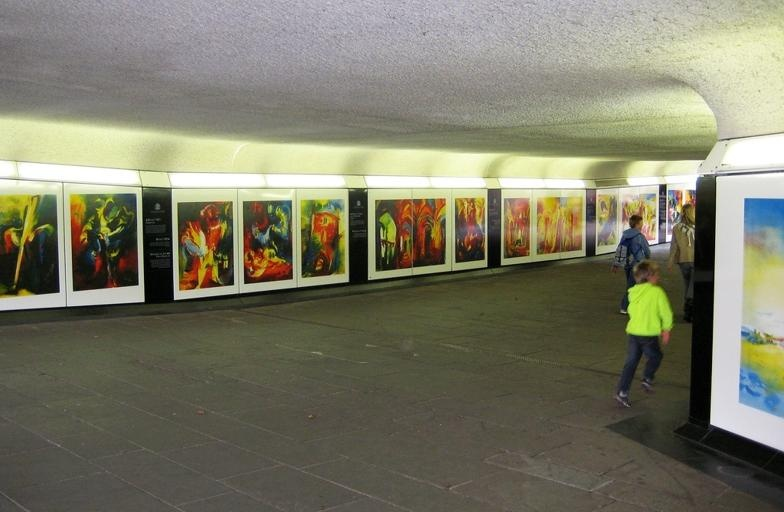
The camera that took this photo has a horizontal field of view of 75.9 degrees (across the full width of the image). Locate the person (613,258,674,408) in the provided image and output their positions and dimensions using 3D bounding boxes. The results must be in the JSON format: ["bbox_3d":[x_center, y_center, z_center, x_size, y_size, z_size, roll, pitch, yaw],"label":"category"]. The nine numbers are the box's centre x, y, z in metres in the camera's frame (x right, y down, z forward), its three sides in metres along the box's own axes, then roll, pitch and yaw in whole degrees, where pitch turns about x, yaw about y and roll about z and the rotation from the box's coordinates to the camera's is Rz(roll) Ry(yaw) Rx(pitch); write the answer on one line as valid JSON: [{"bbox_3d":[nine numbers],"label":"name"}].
[{"bbox_3d":[3.779,1.173,7.513,0.665,2.158,0.611,4,7,27],"label":"person"}]

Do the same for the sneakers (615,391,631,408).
[{"bbox_3d":[3.464,2.152,7.491,0.161,0.199,0.298,3,-6,-11],"label":"sneakers"}]
